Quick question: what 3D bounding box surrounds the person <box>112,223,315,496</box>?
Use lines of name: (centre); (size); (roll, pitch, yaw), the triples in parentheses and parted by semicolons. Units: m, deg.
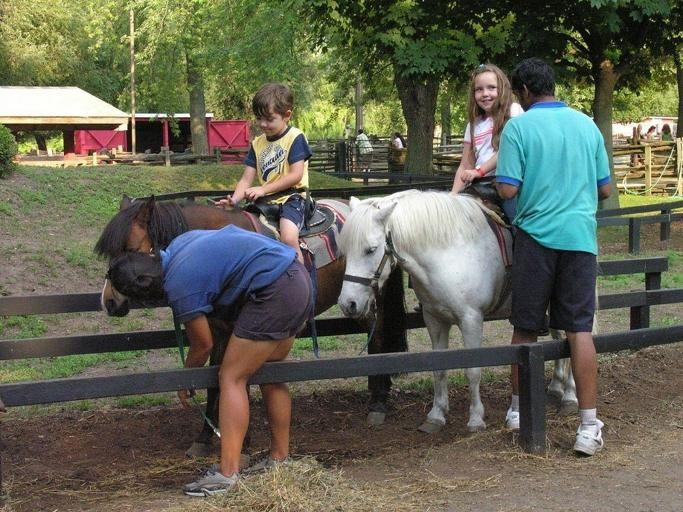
person: (-0.813, 0.713, 5.462); (1.279, 1.804, 0.494); (-4, 11, -4)

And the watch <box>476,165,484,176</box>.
watch: (1.195, -0.724, 6.780); (0.069, 0.068, 0.067); (-2, -3, -4)

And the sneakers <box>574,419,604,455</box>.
sneakers: (1.890, 1.378, 6.014); (0.144, 0.158, 0.357); (2, 6, 21)

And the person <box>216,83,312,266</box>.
person: (-0.623, -0.598, 6.684); (0.865, 1.616, 0.815); (-8, 17, -25)

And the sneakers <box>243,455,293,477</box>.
sneakers: (-0.530, 1.497, 5.662); (0.379, 0.140, 0.122); (-3, -16, -8)

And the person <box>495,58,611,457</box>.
person: (1.634, -0.017, 6.090); (0.836, 2.950, 0.787); (0, 12, 17)
